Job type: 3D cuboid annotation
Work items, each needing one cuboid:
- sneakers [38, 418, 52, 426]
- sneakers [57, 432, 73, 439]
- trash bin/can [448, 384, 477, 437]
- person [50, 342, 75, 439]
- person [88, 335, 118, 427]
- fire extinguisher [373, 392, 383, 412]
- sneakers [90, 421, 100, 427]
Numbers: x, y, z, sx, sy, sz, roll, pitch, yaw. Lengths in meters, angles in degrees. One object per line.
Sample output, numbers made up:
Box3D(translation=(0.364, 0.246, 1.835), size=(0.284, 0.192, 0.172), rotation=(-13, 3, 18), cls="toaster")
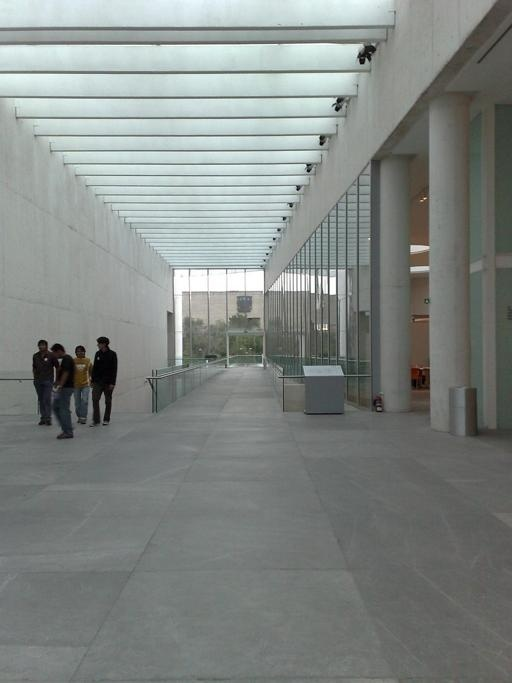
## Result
Box3D(translation=(-3.709, 1.431, 9.944), size=(0.203, 0.105, 0.168), rotation=(-4, -1, -28), cls="sneakers")
Box3D(translation=(-2.784, 1.361, 8.220), size=(0.215, 0.155, 0.101), rotation=(3, -7, 1), cls="sneakers")
Box3D(translation=(2.894, 0.979, 7.877), size=(0.372, 0.717, 0.337), rotation=(-2, 0, 24), cls="trash bin/can")
Box3D(translation=(-2.969, 0.720, 8.675), size=(0.287, 1.377, 1.623), rotation=(-2, -1, -20), cls="person")
Box3D(translation=(-2.654, 0.682, 9.812), size=(0.435, 1.501, 0.796), rotation=(-2, 0, -18), cls="person")
Box3D(translation=(2.365, 1.192, 10.988), size=(0.234, 0.364, 0.207), rotation=(-3, 0, 36), cls="fire extinguisher")
Box3D(translation=(-2.757, 1.438, 9.678), size=(0.157, 0.166, 0.070), rotation=(4, -18, -23), cls="sneakers")
